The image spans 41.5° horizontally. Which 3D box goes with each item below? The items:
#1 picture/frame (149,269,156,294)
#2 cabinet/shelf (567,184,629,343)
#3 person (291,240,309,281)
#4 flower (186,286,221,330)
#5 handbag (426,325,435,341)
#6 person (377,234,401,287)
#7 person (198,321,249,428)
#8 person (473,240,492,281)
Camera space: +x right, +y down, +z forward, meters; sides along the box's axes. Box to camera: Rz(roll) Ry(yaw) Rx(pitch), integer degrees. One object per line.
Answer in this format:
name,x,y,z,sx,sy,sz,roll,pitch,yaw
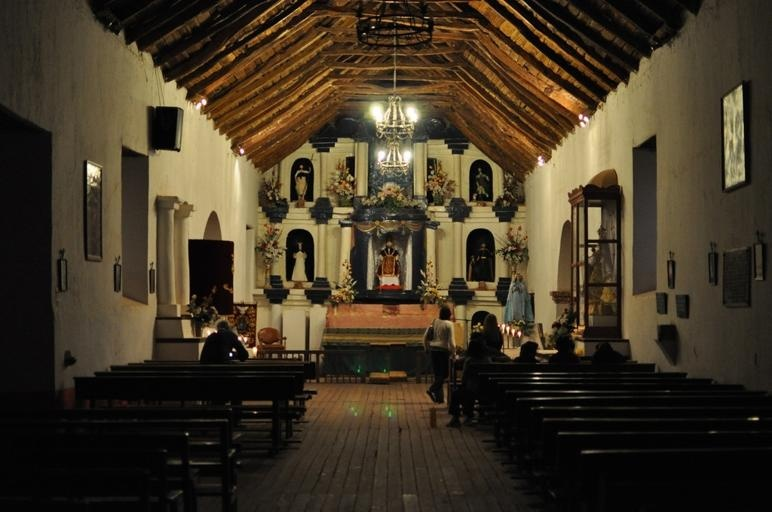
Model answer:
picture/frame,-4.301,0.465,18.721,0.077,0.364,0.298,0,1,-7
cabinet/shelf,4.046,0.082,19.534,1.008,2.907,1.347,-5,7,-15
person,-2.515,0.222,29.389,0.442,1.149,0.757,-3,7,5
flower,-3.509,1.024,19.534,0.592,0.793,0.618,2,2,-1
handbag,0.864,1.496,19.614,0.068,0.258,0.170,8,-8,-35
person,0.062,0.231,28.705,0.702,1.373,0.779,-4,7,0
person,-2.855,1.856,17.423,0.667,1.482,0.617,7,6,13
person,2.840,0.095,29.499,0.437,1.157,0.352,2,31,6
